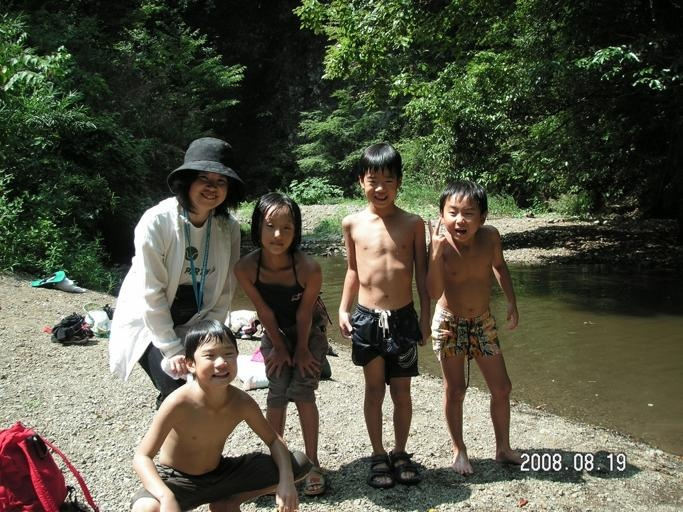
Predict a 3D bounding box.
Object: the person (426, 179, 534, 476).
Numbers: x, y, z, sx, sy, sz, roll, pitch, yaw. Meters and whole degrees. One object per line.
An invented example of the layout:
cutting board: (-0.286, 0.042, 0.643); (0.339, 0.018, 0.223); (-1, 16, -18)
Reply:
person: (1.042, 0.521, 4.848); (0.736, 2.202, 0.619); (-3, 8, -6)

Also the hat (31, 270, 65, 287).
hat: (-4.177, 0.316, 8.759); (0.373, 0.078, 0.230); (-20, 23, -28)

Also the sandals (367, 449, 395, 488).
sandals: (0.287, 1.615, 4.627); (0.182, 0.201, 0.163); (-4, 8, -9)

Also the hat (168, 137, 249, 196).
hat: (-0.948, -0.723, 4.433); (0.430, 0.236, 0.385); (27, -27, -38)

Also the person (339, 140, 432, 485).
person: (0.319, 0.406, 4.796); (0.711, 2.538, 0.811); (0, 8, 22)
